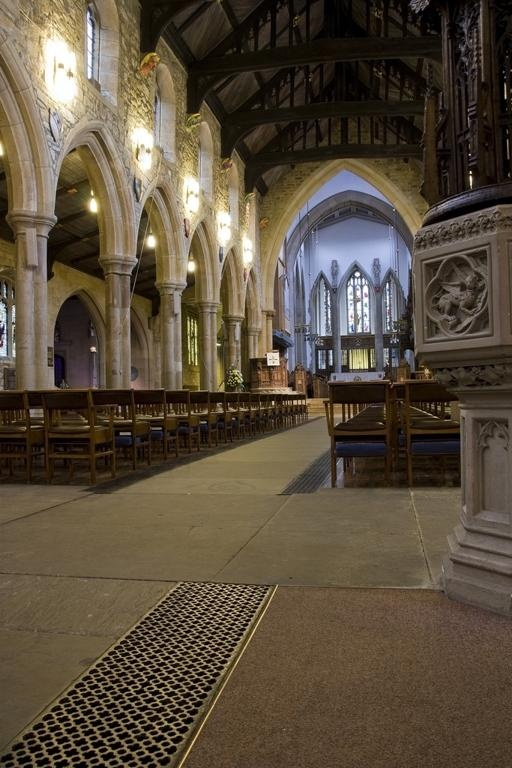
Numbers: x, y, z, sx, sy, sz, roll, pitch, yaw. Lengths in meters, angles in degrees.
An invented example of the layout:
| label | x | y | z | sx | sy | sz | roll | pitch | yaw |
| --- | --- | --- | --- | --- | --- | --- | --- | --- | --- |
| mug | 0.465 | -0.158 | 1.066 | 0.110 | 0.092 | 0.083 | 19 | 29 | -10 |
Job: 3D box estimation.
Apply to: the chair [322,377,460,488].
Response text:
| label | x | y | z | sx | sy | sz | roll | pitch | yaw |
| --- | --- | --- | --- | --- | --- | --- | --- | --- | --- |
| chair | 1.209 | 0.419 | 5.629 | 0.862 | 0.751 | 1.660 | 0 | -1 | 8 |
